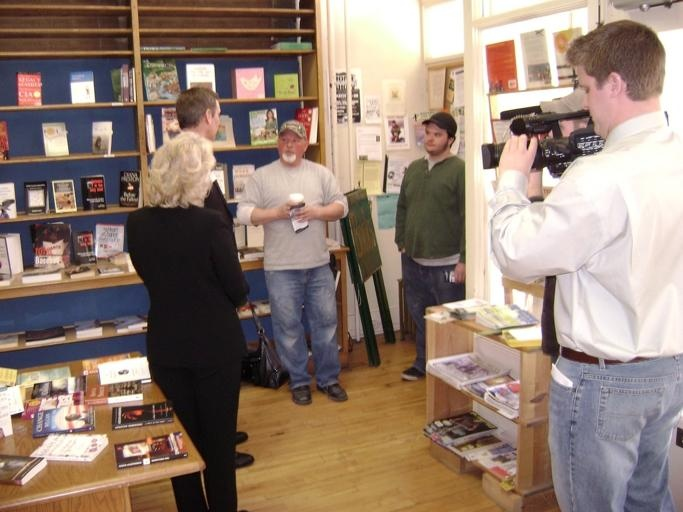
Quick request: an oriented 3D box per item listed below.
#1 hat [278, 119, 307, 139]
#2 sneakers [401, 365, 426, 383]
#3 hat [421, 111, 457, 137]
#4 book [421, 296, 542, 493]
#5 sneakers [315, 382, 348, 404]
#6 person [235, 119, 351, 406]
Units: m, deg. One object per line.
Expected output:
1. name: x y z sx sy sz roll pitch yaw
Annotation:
1. hat: -0.371 -0.924 3.930 0.182 0.132 0.209 -3 13 -6
2. sneakers: 0.590 0.979 4.503 0.195 0.081 0.095 0 4 -16
3. hat: 0.744 -0.990 4.059 0.241 0.118 0.174 22 4 -46
4. book: 0.828 0.810 3.145 0.405 0.963 1.041 -3 7 -22
5. sneakers: -0.059 1.054 4.208 0.098 0.076 0.253 -5 8 -33
6. person: -0.341 0.058 4.060 0.828 2.091 0.571 -4 13 -11
